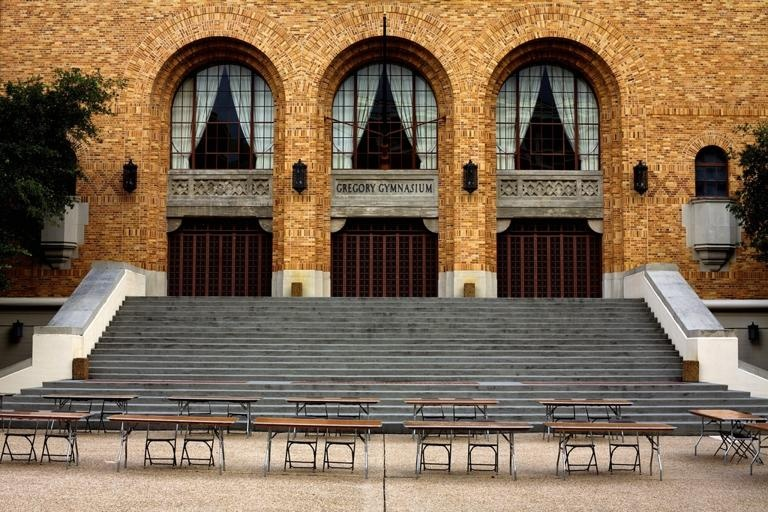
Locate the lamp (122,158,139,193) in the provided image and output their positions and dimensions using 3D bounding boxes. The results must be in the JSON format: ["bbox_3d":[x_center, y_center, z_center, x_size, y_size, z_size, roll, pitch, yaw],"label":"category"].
[{"bbox_3d":[-9.332,-2.899,42.661,0.541,1.229,0.388,2,-6,-13],"label":"lamp"}]

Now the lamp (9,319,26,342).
[{"bbox_3d":[-13.273,2.712,41.883,0.478,0.786,0.310,-2,-7,26],"label":"lamp"}]

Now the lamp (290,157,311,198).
[{"bbox_3d":[-3.073,-2.901,42.700,0.571,1.286,0.421,1,-6,-4],"label":"lamp"}]

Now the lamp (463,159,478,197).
[{"bbox_3d":[3.196,-2.878,42.694,0.588,1.197,0.383,1,-6,1],"label":"lamp"}]

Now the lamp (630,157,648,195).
[{"bbox_3d":[9.443,-2.869,42.695,0.531,1.233,0.371,-1,-7,15],"label":"lamp"}]

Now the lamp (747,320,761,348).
[{"bbox_3d":[13.413,2.793,41.885,0.496,0.834,0.207,3,-7,-17],"label":"lamp"}]
